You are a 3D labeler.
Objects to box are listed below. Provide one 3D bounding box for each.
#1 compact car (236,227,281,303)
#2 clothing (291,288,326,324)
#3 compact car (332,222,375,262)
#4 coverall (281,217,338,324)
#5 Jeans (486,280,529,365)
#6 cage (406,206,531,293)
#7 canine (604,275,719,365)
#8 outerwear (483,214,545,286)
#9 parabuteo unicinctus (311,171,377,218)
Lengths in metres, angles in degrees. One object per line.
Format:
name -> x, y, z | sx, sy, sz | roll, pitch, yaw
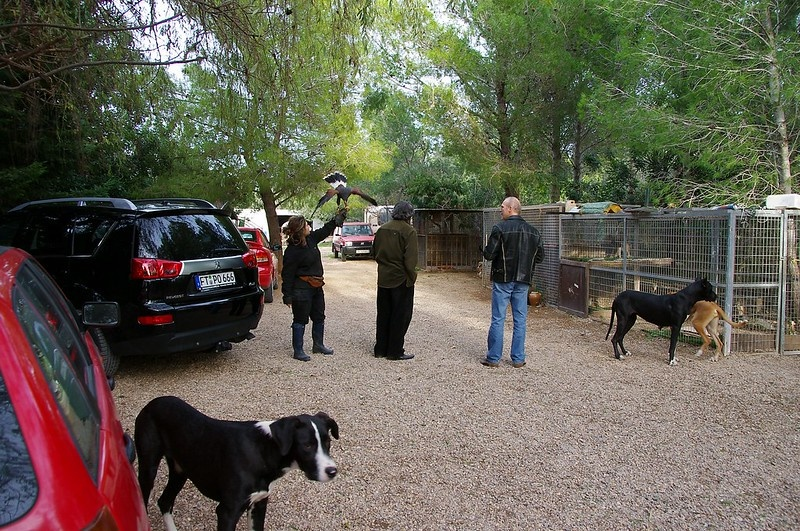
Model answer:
compact car -> -3.492, -0.061, 12.979 | 1.190, 1.151, 3.008 | 1, 11, -1
clothing -> -1.402, 0.595, 8.090 | 0.246, 0.714, 0.534 | 4, 1, 42
compact car -> -2.362, -1.260, 27.361 | 1.747, 1.626, 3.485 | -2, 1, -14
coverall -> -1.349, 0.272, 8.283 | 0.901, 2.206, 0.923 | -1, 9, -7
Jeans -> 1.607, 0.821, 7.956 | 0.564, 1.240, 0.675 | 2, 9, 12
cage -> 2.252, -1.036, 20.293 | 3.946, 2.950, 2.192 | 0, 0, -11
canine -> 3.929, 0.802, 8.055 | 1.327, 1.248, 0.747 | 6, 11, 30
outerwear -> 1.527, -0.161, 8.107 | 1.081, 1.220, 0.860 | 2, 3, -9
parabuteo unicinctus -> -1.082, -1.151, 8.871 | 1.300, 0.879, 0.431 | -1, -28, -23
